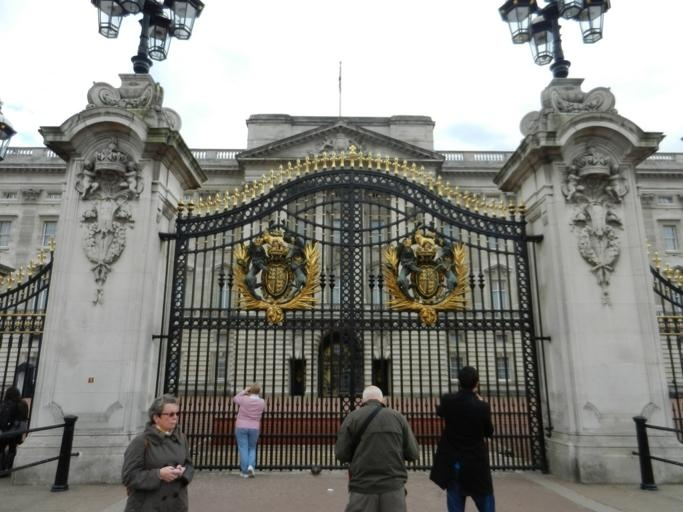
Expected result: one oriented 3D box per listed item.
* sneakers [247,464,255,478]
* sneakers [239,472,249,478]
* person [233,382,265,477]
[{"bbox_3d":[-1.811,4.267,11.385,0.095,0.248,0.113,-3,22,-4],"label":"sneakers"},{"bbox_3d":[-1.933,4.331,11.355,0.181,0.107,0.153,-2,-16,1],"label":"sneakers"},{"bbox_3d":[-1.894,3.506,11.608,0.591,1.818,0.587,1,-16,-8],"label":"person"}]
